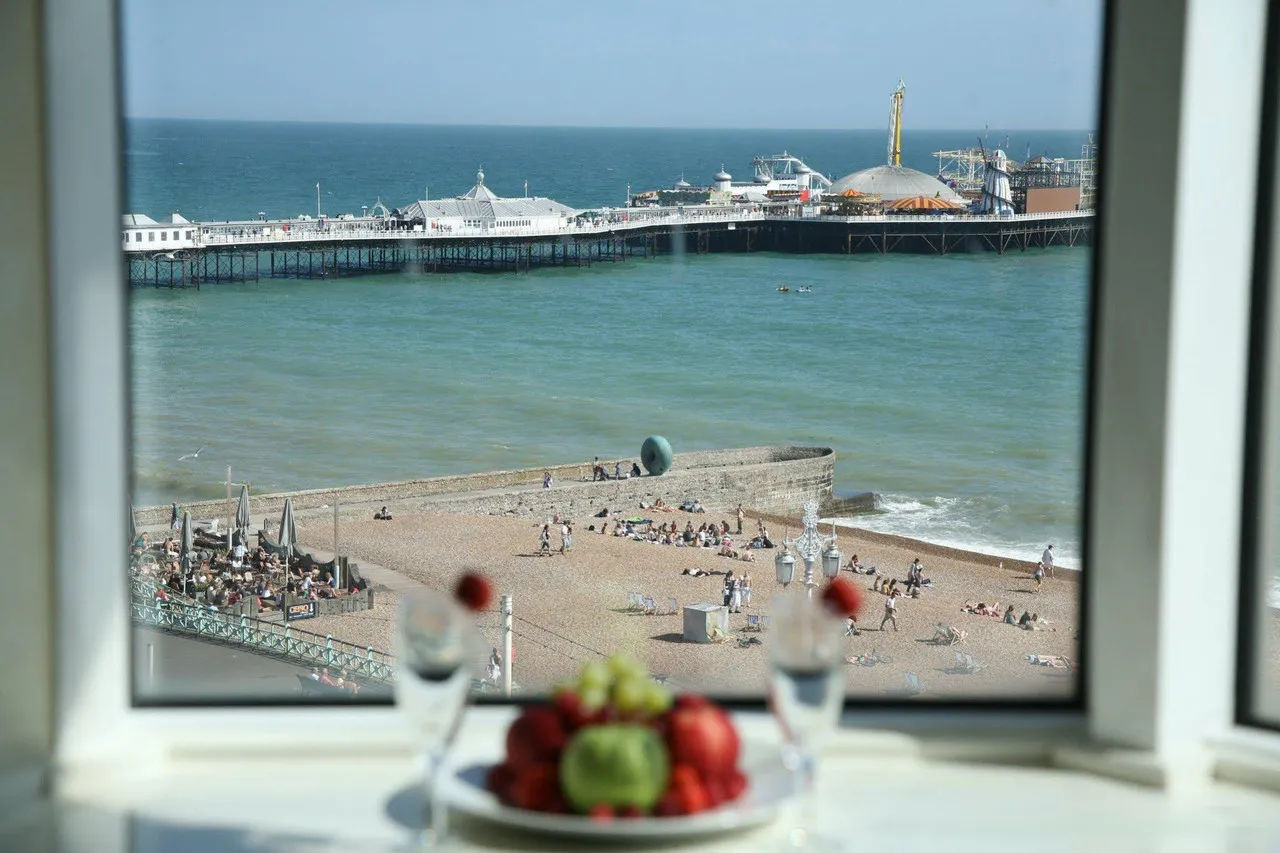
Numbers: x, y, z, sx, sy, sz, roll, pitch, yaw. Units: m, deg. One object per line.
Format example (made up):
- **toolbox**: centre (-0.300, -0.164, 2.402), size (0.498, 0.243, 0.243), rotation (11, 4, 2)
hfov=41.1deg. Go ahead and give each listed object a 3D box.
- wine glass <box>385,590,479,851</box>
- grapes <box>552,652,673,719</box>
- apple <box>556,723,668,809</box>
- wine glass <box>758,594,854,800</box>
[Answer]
- **wine glass**: centre (-0.269, 0.378, 2.243), size (0.097, 0.373, 0.241), rotation (-4, 12, -9)
- **grapes**: centre (-0.028, 0.351, 2.187), size (0.115, 0.059, 0.084), rotation (-10, 21, -14)
- **apple**: centre (-0.029, 0.421, 2.158), size (0.114, 0.102, 0.109), rotation (1, -4, -6)
- **wine glass**: centre (0.224, 0.356, 2.270), size (0.105, 0.356, 0.281), rotation (-1, 12, 5)
